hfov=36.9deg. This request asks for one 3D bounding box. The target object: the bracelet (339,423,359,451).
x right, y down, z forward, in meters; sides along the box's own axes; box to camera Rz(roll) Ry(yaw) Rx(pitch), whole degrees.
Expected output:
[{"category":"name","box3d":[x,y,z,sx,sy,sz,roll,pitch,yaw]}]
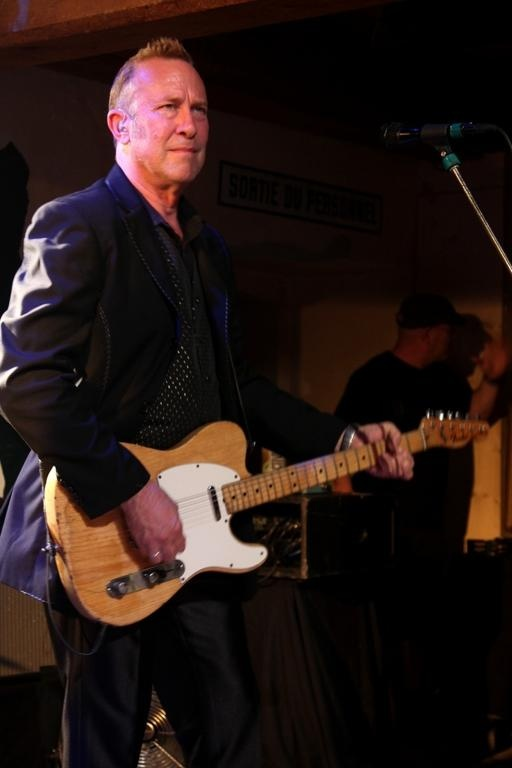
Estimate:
[{"category":"bracelet","box3d":[0.225,0.131,1.863,0.013,0.051,0.054,12,-23,10]}]

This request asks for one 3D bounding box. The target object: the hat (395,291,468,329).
[{"category":"hat","box3d":[0.896,-0.364,3.920,0.265,0.126,0.189,-12,8,-7]}]
